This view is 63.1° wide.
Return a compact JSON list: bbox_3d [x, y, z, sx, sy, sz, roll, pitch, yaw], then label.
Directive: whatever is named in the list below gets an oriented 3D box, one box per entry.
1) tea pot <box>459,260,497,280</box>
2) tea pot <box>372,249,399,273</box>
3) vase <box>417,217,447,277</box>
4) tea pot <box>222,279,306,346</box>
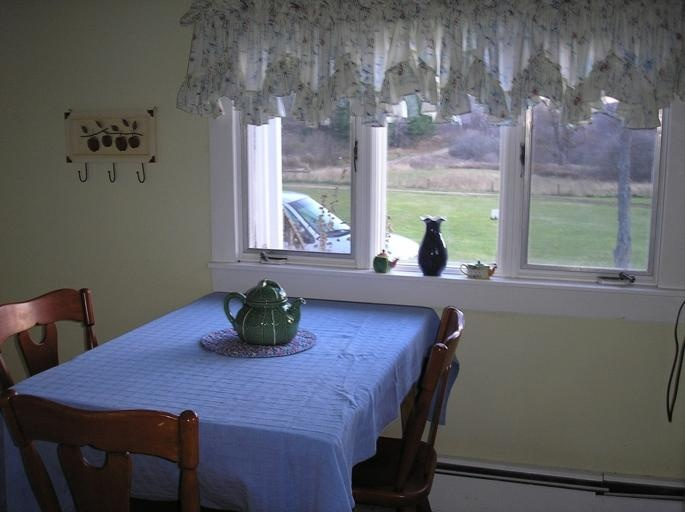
[{"bbox_3d":[0.716,0.068,2.921,0.135,0.077,0.100,0,3,12],"label":"tea pot"},{"bbox_3d":[0.227,0.036,3.000,0.130,0.109,0.086,4,6,28],"label":"tea pot"},{"bbox_3d":[0.482,-0.059,2.976,0.158,0.304,0.164,3,14,5],"label":"vase"},{"bbox_3d":[-0.318,0.233,2.328,0.321,0.286,0.258,3,8,6],"label":"tea pot"}]
